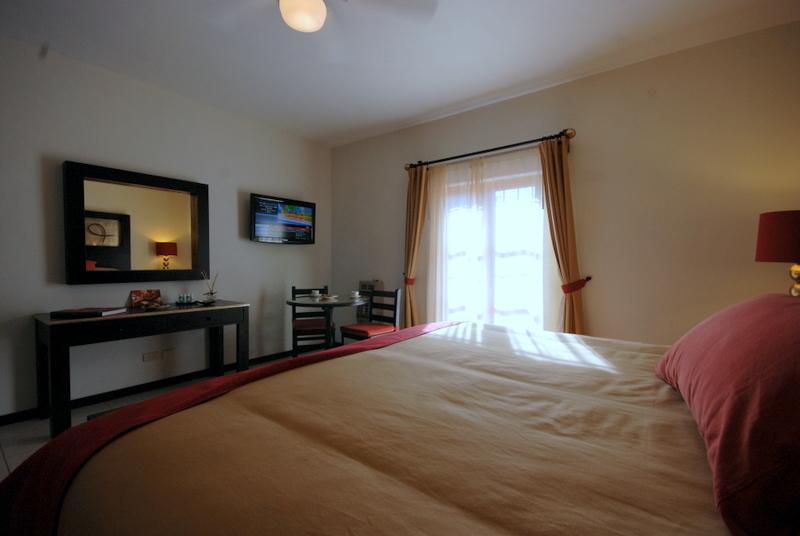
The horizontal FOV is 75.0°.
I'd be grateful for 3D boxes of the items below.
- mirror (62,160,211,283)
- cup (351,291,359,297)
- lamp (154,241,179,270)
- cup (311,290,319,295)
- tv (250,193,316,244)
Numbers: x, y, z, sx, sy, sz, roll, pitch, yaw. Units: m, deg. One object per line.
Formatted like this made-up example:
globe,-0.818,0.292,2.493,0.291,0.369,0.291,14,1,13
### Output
mirror,-2.396,-0.337,4.847,1.221,1.115,0.107,3,-19,-40
cup,-0.474,0.269,5.519,0.042,0.044,0.057,-3,-8,18
lamp,-2.245,-0.126,5.002,0.221,0.364,0.214,2,-4,-25
cup,-0.875,0.252,5.469,0.054,0.029,0.056,1,3,0
tv,-1.329,-0.554,5.964,0.070,0.432,0.885,-1,1,41
